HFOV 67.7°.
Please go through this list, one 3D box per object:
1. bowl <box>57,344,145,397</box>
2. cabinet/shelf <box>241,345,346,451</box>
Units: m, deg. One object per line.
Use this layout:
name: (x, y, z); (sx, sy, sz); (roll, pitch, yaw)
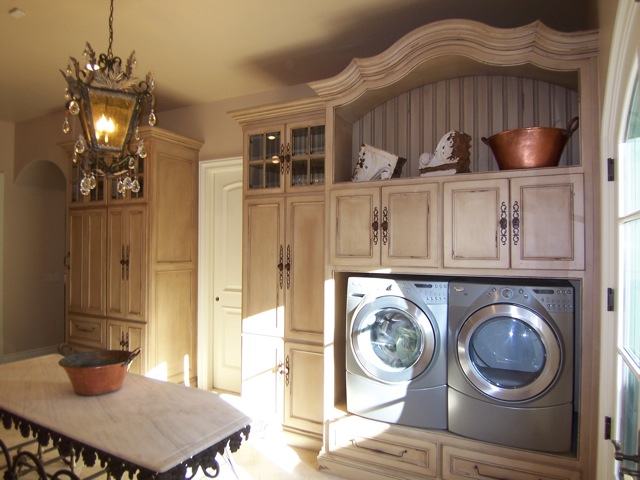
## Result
bowl: (-1.338, 0.782, 2.867); (0.302, 0.182, 0.360); (-4, -11, 44)
cabinet/shelf: (-0.182, 1.329, 3.970); (0.774, 0.813, 0.307); (9, 5, 33)
